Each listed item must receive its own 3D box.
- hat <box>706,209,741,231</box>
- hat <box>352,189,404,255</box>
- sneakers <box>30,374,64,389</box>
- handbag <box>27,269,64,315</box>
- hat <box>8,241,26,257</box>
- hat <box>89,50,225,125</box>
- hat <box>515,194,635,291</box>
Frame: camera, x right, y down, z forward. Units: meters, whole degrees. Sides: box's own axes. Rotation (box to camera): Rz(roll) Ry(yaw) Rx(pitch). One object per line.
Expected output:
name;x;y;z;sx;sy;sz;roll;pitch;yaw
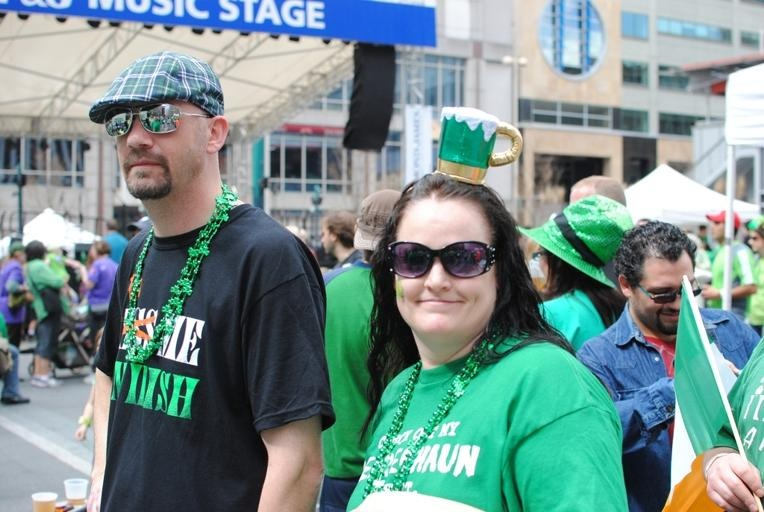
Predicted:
hat;4.121;-0.440;12.782;0.382;0.163;0.253;8;3;25
hat;-0.033;-0.274;8.648;0.345;0.440;0.513;4;19;1
sneakers;-4.595;1.729;14.557;0.414;0.206;0.160;1;7;-6
handbag;-4.583;0.490;14.459;0.287;0.749;0.516;-23;4;1
hat;-5.312;-0.102;15.423;0.197;0.155;0.189;2;1;2
hat;-1.345;-1.161;7.284;0.441;0.314;0.662;-5;-19;25
hat;1.597;-0.214;8.464;0.810;0.434;0.832;34;6;-5
